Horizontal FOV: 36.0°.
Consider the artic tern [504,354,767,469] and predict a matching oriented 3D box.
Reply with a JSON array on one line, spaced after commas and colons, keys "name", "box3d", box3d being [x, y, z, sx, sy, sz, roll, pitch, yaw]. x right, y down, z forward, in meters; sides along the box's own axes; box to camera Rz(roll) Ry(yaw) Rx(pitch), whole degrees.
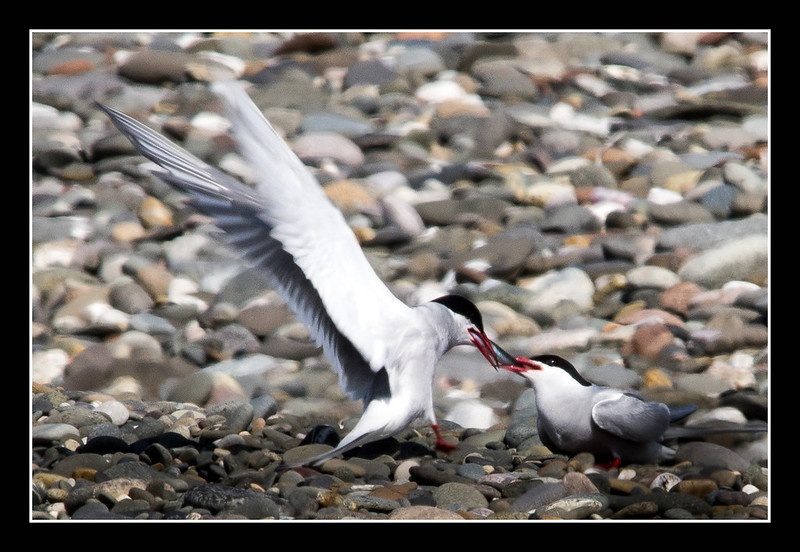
[{"name": "artic tern", "box3d": [1.061, 0.617, 5.556, 1.431, 0.436, 0.449, 6, -15, -32]}]
